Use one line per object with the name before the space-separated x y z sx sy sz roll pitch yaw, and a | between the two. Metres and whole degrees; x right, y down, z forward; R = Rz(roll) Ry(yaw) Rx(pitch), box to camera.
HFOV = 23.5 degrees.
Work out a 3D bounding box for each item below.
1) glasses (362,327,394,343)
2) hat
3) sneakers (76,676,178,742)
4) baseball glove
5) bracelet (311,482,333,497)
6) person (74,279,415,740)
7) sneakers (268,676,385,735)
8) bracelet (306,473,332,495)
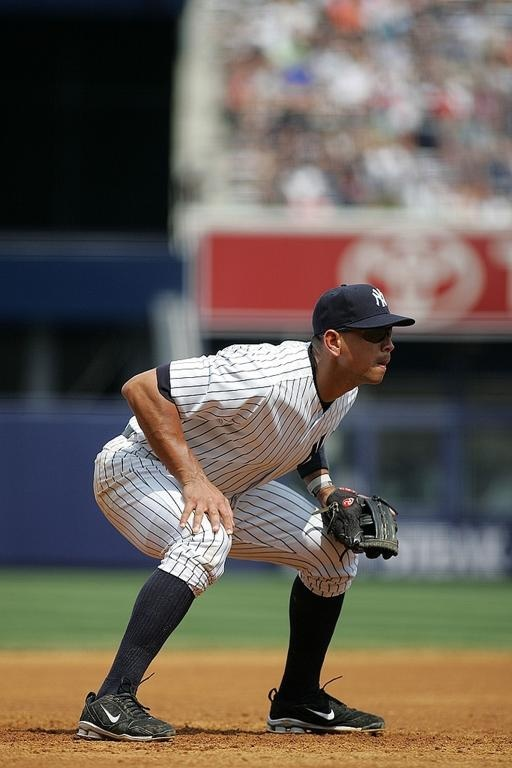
glasses | 0.396 -0.148 3.969 0.068 0.018 0.065 -16 -7 28
hat | 0.340 -0.238 4.027 0.264 0.129 0.180 -1 2 18
sneakers | -0.460 1.029 3.887 0.380 0.173 0.136 5 -3 10
baseball glove | 0.363 0.463 4.161 0.242 0.146 0.298 -7 40 -13
bracelet | 0.232 0.392 4.456 0.065 0.026 0.055 -29 -5 15
person | -0.047 0.427 4.060 1.015 1.570 0.542 3 8 -33
sneakers | 0.275 1.147 4.349 0.480 0.203 0.150 1 -7 -1
bracelet | 0.231 0.358 4.473 0.090 0.052 0.071 -39 2 36
